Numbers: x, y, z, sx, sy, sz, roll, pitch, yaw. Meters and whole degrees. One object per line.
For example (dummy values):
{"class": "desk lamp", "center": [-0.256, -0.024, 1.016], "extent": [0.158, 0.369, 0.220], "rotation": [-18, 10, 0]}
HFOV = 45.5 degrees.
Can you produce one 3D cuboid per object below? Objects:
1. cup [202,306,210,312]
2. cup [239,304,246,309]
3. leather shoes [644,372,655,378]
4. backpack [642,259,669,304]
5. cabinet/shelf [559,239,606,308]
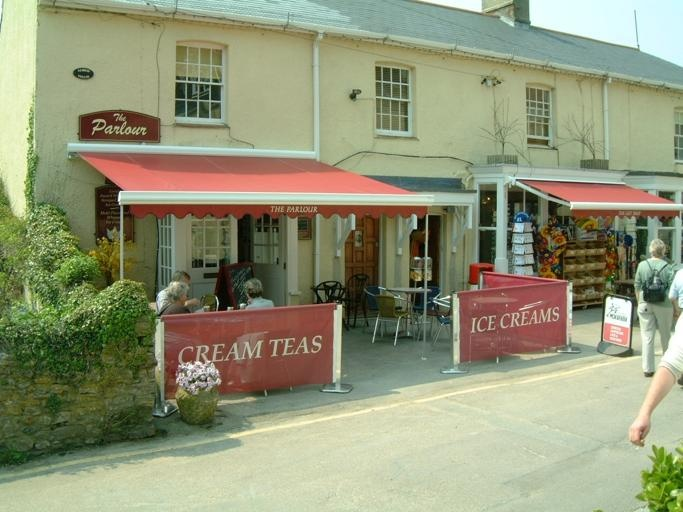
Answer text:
{"class": "cup", "center": [-2.436, 0.948, 14.604], "extent": [0.138, 0.104, 0.143], "rotation": [0, -3, 0]}
{"class": "cup", "center": [-1.698, 0.862, 13.907], "extent": [0.132, 0.131, 0.172], "rotation": [0, -6, -2]}
{"class": "leather shoes", "center": [5.440, 2.114, 14.421], "extent": [0.092, 0.079, 0.124], "rotation": [0, -2, -4]}
{"class": "backpack", "center": [5.555, 0.446, 14.440], "extent": [0.421, 0.708, 0.385], "rotation": [2, 1, 13]}
{"class": "cabinet/shelf", "center": [6.534, 0.472, 21.697], "extent": [1.575, 1.812, 0.510], "rotation": [-3, 3, -34]}
